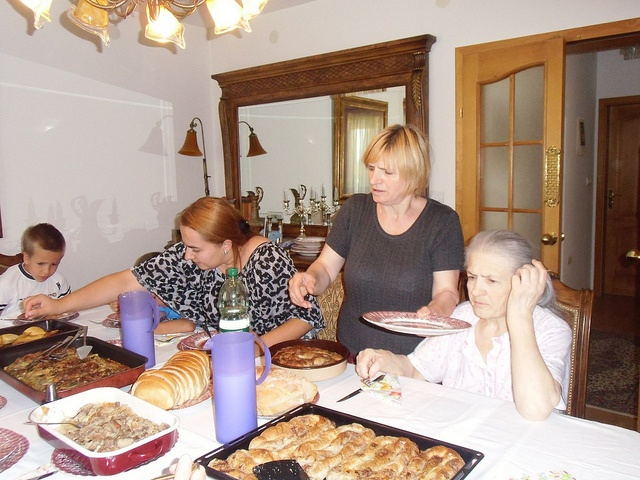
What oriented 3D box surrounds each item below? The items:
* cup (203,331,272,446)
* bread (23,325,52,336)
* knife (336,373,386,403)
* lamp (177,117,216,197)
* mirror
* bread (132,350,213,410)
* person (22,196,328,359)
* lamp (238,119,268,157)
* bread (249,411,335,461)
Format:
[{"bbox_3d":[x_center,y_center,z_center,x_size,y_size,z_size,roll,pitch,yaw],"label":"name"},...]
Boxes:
[{"bbox_3d":[-0.228,0.388,1.179,0.124,0.307,0.117,-2,7,0],"label":"cup"},{"bbox_3d":[-1.212,0.387,1.904,0.049,0.014,0.048,10,13,11],"label":"bread"},{"bbox_3d":[0.133,0.488,1.471,0.144,0.003,0.020,-18,21,-34],"label":"knife"},{"bbox_3d":[-1.268,-0.850,4.524,0.286,0.807,0.505,-4,7,-13],"label":"lamp"},{"bbox_3d":[-0.080,-0.804,4.304,2.346,1.779,0.295,5,21,33],"label":"mirror"},{"bbox_3d":[-0.434,0.419,1.380,0.130,0.068,0.193,12,13,16],"label":"bread"},{"bbox_3d":[-0.504,0.165,2.105,1.089,0.492,0.789,14,18,33],"label":"person"},{"bbox_3d":[-0.710,-1.040,4.532,0.290,0.389,0.202,-8,8,28],"label":"lamp"},{"bbox_3d":[-0.070,0.519,1.164,0.218,0.044,0.117,-15,41,-35],"label":"bread"}]
